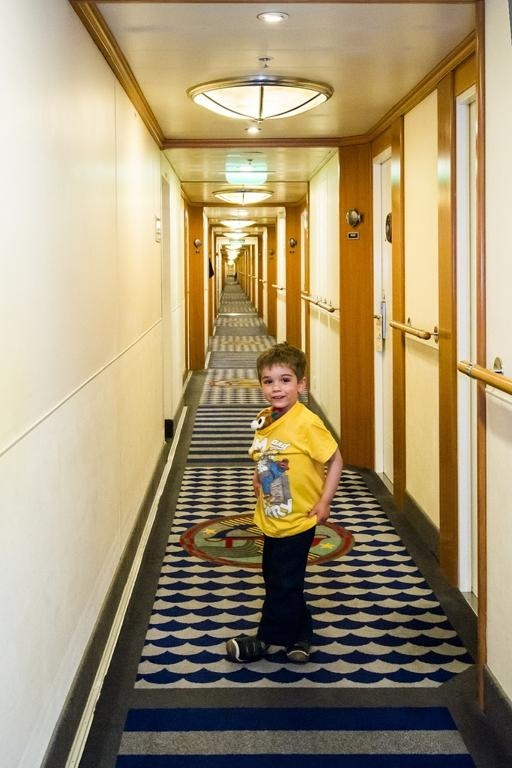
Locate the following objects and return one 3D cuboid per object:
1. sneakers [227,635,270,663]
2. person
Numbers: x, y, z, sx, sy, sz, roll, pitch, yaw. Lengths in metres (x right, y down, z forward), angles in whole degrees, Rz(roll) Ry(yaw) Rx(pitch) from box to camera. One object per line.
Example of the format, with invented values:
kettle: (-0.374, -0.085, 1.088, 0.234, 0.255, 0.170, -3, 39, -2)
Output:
sneakers: (-0.031, 1.123, 2.222, 0.093, 0.105, 0.193, -18, -18, 32)
person: (0.110, 0.509, 2.099, 0.451, 1.366, 0.484, 0, -3, -6)
